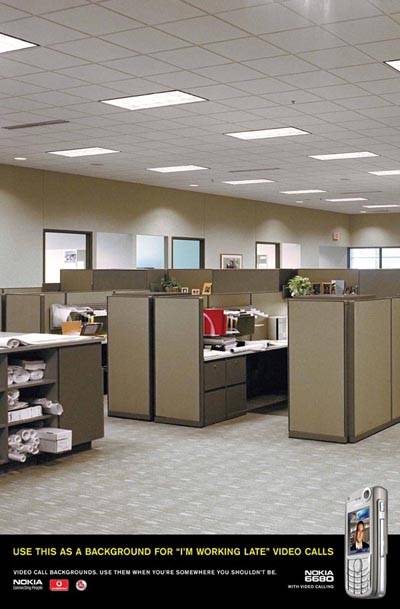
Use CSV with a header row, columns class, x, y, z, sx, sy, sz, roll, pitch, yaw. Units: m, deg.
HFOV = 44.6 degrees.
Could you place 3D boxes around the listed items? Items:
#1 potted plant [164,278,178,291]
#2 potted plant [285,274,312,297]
class,x,y,z,sx,sy,sz,roll,pitch,yaw
potted plant,-0.517,-0.368,8.768,0.227,0.263,0.230,2,4,17
potted plant,1.588,-0.286,7.875,0.446,0.323,0.460,5,9,6
